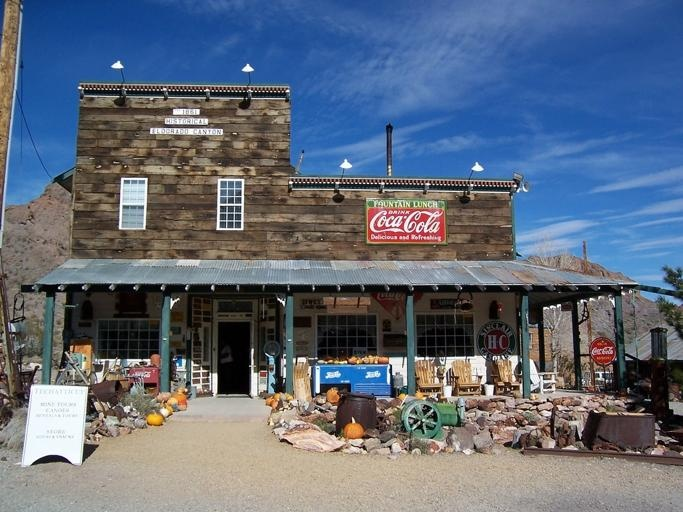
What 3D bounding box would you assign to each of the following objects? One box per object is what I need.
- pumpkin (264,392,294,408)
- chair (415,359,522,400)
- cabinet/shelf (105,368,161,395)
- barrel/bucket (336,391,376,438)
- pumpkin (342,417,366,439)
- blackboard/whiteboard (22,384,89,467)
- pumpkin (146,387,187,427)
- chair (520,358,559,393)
[{"bbox_3d":[-1.864,4.205,16.941,0.627,0.293,0.664,2,-8,-1],"label":"pumpkin"},{"bbox_3d":[4.161,3.913,18.740,3.489,1.255,1.518,0,-10,1],"label":"chair"},{"bbox_3d":[-6.448,3.731,17.350,1.396,0.795,2.006,-2,-10,8],"label":"cabinet/shelf"},{"bbox_3d":[0.325,3.624,13.323,0.846,0.977,0.822,1,-7,0],"label":"barrel/bucket"},{"bbox_3d":[0.273,3.882,12.864,0.377,0.388,0.373,2,-12,1],"label":"pumpkin"},{"bbox_3d":[-5.571,3.272,11.141,1.054,1.495,0.438,3,-11,-18],"label":"blackboard/whiteboard"},{"bbox_3d":[-4.828,4.169,15.776,0.574,0.298,0.978,-3,5,4],"label":"pumpkin"},{"bbox_3d":[6.822,4.161,19.792,1.060,0.960,2.959,-4,-11,22],"label":"chair"}]
